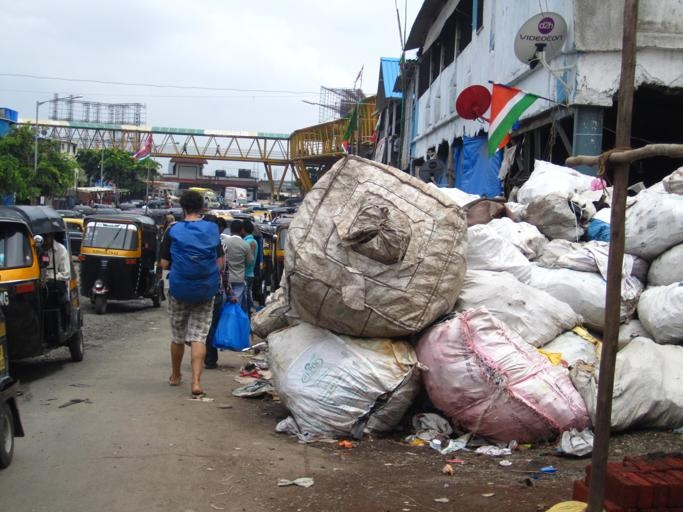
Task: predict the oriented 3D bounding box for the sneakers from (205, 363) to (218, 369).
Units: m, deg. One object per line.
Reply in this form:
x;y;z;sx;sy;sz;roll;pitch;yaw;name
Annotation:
-1.609;1.366;8.128;0.145;0.053;0.062;9;10;-4;sneakers

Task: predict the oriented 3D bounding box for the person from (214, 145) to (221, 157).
-11.992;-10.367;63.795;0.510;1.051;1.331;0;4;-10;person

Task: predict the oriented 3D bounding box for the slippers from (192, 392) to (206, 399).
-1.403;1.357;6.453;0.129;0.075;0.148;0;3;-12;slippers

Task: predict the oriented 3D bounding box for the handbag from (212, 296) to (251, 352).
-1.291;0.787;7.813;0.474;0.880;0.644;1;-3;-10;handbag

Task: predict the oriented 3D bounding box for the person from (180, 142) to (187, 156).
-15.138;-10.365;63.272;0.570;1.450;1.993;-1;4;-13;person

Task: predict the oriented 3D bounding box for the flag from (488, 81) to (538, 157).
2.480;-2.102;9.856;0.348;1.030;0.898;-1;4;-14;flag

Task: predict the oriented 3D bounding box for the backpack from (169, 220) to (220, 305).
-1.494;0.022;6.729;0.524;0.787;0.441;4;-1;-10;backpack
